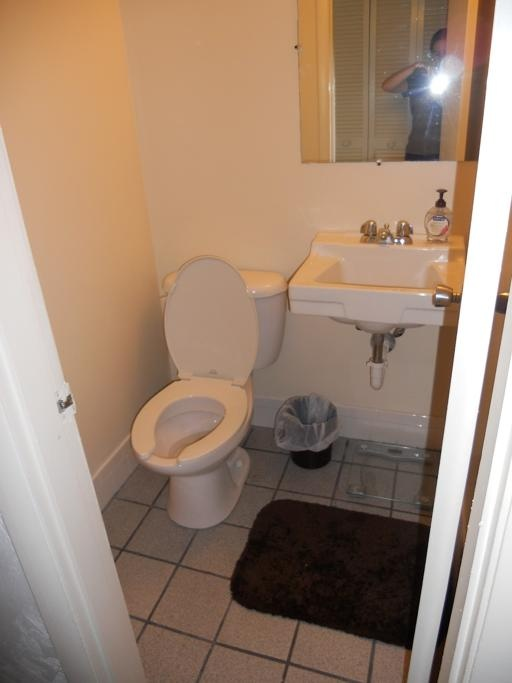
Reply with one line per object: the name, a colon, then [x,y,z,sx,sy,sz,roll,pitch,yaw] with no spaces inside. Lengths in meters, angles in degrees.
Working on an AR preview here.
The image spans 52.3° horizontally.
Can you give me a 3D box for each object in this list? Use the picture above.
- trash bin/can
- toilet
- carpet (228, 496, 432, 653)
trash bin/can: [0.205,0.333,2.075,0.230,0.235,0.263,4,33,7]
toilet: [-0.149,0.162,1.769,0.426,0.862,0.743,5,27,14]
carpet: [0.226,0.660,1.575,0.548,0.034,0.444,6,28,16]
